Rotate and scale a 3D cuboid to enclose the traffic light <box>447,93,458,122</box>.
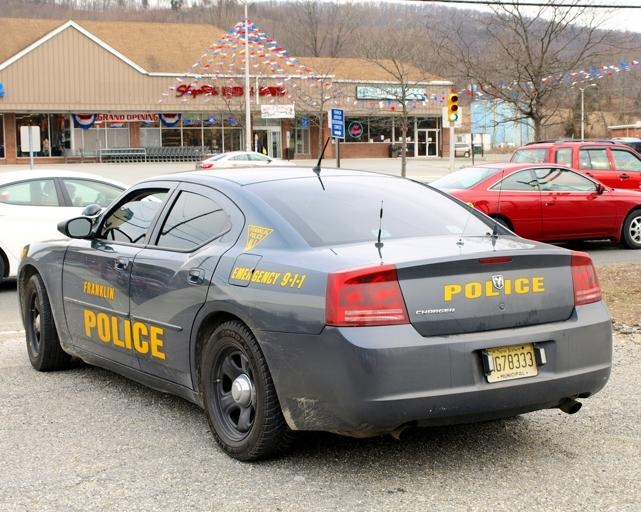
[{"bbox_3d":[3.862,-4.312,20.863,0.291,0.851,0.640,0,9,10],"label":"traffic light"}]

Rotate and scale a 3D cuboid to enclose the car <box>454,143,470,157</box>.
[{"bbox_3d":[12.426,-9.179,62.417,1.302,1.218,5.316,1,9,11],"label":"car"}]
